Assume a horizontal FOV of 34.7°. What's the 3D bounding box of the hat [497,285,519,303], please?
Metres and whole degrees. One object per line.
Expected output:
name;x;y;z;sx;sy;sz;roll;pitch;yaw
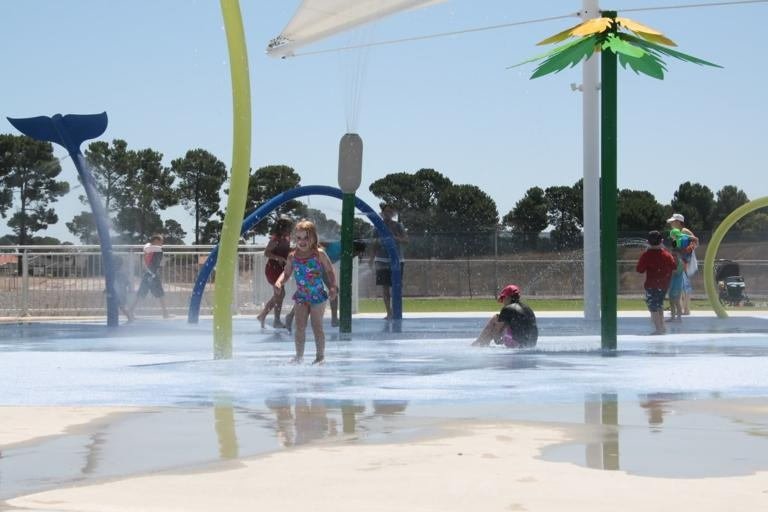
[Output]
hat;1.797;0.568;17.939;0.292;0.280;0.267;7;12;25

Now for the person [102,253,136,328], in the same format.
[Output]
person;-4.733;0.691;22.368;0.319;1.208;1.760;0;11;-14

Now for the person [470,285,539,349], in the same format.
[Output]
person;1.740;0.916;18.278;1.078;1.006;0.566;4;3;33

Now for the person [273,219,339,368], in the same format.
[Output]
person;-1.044;0.509;17.171;0.729;1.963;0.925;-1;11;-15

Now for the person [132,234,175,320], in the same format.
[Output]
person;-4.337;0.375;22.825;0.668;1.486;0.895;0;11;-11

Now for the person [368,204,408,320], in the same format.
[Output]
person;0.079;0.119;22.269;0.573;2.117;0.892;2;11;0

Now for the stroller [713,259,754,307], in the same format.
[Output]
stroller;7.558;0.618;26.839;0.756;1.196;1.013;2;-8;-26
